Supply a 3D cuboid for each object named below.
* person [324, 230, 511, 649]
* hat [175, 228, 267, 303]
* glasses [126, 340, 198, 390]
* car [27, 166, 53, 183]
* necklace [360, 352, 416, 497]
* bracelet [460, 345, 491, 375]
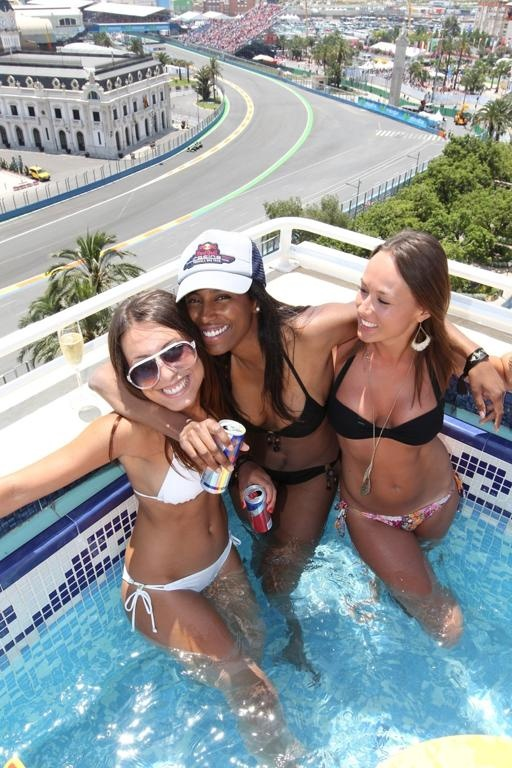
[{"bbox_3d":[0.634,0.107,2.559,0.907,1.677,1.277,14,30,20],"label":"person"},{"bbox_3d":[-0.146,-0.500,2.083,0.334,0.228,0.459,3,33,7],"label":"hat"},{"bbox_3d":[-0.362,-0.106,1.882,0.200,0.072,0.198,-30,15,-5],"label":"glasses"},{"bbox_3d":[-17.211,-16.863,40.773,2.062,0.848,1.130,24,40,34],"label":"car"},{"bbox_3d":[0.551,0.195,2.388,0.173,0.662,0.239,15,36,24],"label":"necklace"},{"bbox_3d":[0.950,-0.108,2.264,0.127,0.093,0.050,-38,65,-23],"label":"bracelet"}]
